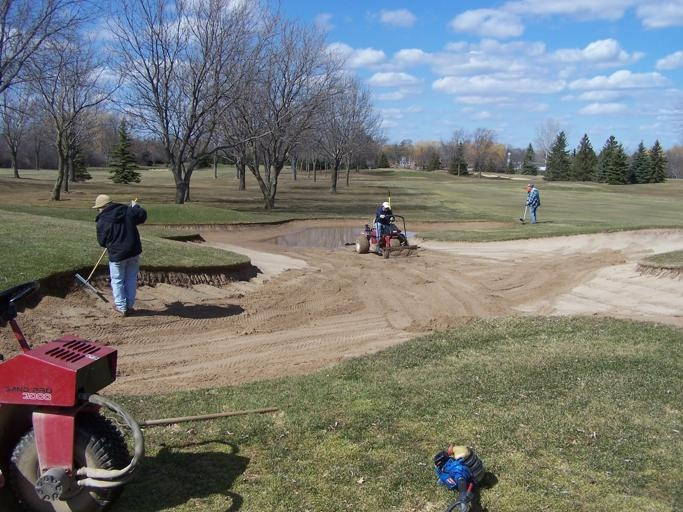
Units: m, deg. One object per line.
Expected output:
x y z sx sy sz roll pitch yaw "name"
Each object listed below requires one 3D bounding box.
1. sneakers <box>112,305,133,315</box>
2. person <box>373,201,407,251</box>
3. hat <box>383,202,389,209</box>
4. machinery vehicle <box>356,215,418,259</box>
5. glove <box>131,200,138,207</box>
-4.741 1.163 12.890 0.173 0.197 0.468 -2 22 -41 "sneakers"
1.934 -1.094 21.934 1.056 1.783 1.327 0 14 -16 "person"
1.633 -1.857 21.565 0.181 0.205 0.228 15 22 21 "hat"
1.679 -0.788 22.675 1.737 1.468 2.740 -4 9 -17 "machinery vehicle"
-4.395 -1.118 12.484 0.142 0.169 0.178 3 -4 -11 "glove"
